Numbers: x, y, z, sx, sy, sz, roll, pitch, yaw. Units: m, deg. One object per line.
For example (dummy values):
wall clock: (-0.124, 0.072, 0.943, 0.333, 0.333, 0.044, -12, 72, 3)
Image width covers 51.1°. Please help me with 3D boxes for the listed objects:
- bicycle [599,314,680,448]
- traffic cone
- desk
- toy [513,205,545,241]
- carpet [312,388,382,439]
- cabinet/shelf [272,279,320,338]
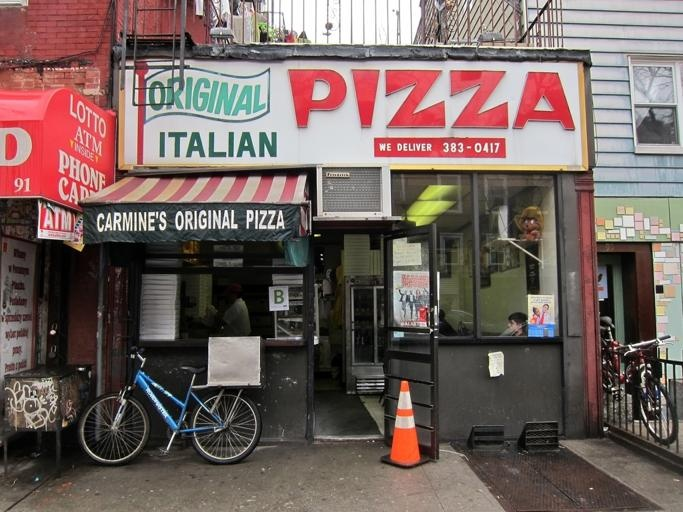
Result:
bicycle: (4.408, 1.982, 10.792, 0.902, 1.120, 1.929, -1, -8, -1)
traffic cone: (0.871, 2.219, 9.768, 0.550, 1.176, 0.585, -2, -4, 32)
desk: (-4.080, 2.169, 9.663, 0.867, 1.223, 1.042, 6, 2, -5)
toy: (2.895, -0.476, 10.912, 0.402, 0.561, 0.416, -11, -18, 40)
carpet: (0.069, 2.507, 11.336, 0.996, 0.391, 1.830, -1, 12, -2)
cabinet/shelf: (-0.718, 0.858, 10.802, 0.549, 0.968, 0.522, 1, 1, -8)
